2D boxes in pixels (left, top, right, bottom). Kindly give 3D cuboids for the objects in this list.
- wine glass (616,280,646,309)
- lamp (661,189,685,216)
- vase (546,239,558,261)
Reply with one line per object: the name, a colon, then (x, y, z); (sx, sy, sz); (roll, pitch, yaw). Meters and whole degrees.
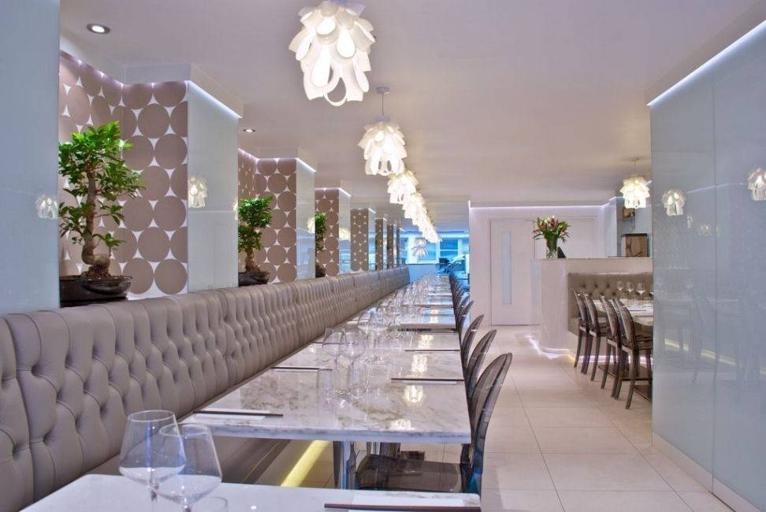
wine glass: (3.613, 0.568, 7.454); (0.312, 0.353, 0.313); (1, -5, -24)
lamp: (2.379, -0.432, 4.201); (0.165, 0.206, 0.168); (0, -5, 6)
vase: (2.832, -0.091, 8.591); (0.161, 0.313, 0.612); (-3, -2, 19)
